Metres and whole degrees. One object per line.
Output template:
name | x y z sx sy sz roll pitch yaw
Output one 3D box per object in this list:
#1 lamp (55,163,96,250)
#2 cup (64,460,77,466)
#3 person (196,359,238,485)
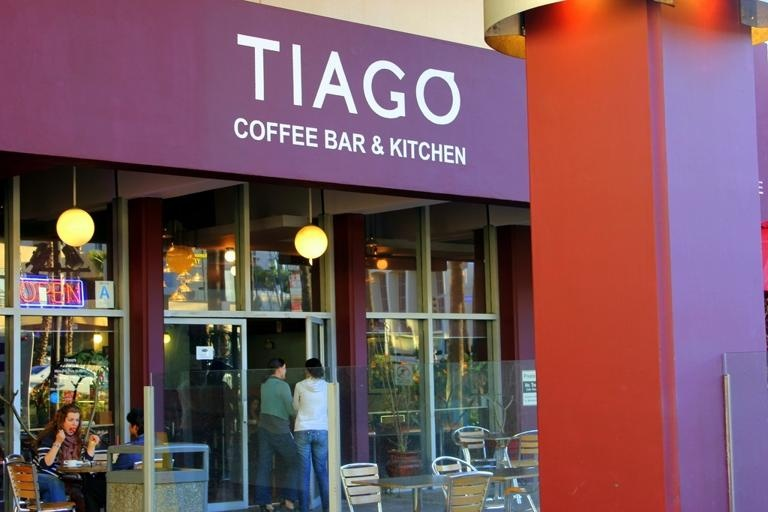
lamp | -3.469 -0.607 9.850 0.418 0.900 1.551 -4 0 -20
cup | -3.159 2.100 8.871 0.078 0.040 0.065 4 -14 -13
person | -1.501 1.552 7.913 0.288 1.134 0.283 -4 0 23
